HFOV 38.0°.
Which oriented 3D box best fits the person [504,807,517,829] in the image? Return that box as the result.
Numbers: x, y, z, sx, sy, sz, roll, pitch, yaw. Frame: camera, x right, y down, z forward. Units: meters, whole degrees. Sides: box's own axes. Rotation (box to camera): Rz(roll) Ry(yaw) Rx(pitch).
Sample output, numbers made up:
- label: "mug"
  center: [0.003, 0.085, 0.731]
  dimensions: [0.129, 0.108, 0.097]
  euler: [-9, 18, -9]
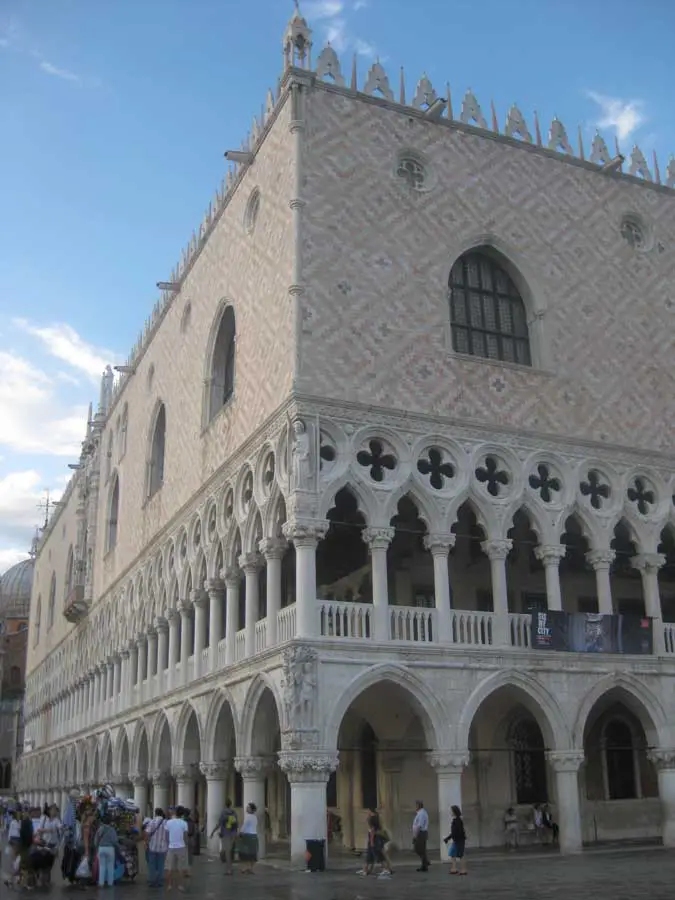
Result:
- label: "person"
  center: [3.906, 8.361, 22.152]
  dimensions: [0.305, 0.638, 0.748]
  euler: [-4, -21, 9]

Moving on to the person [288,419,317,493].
- label: "person"
  center: [-0.629, 0.031, 18.301]
  dimensions: [0.445, 1.492, 0.289]
  euler: [0, -19, -2]

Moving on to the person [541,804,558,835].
- label: "person"
  center: [4.813, 8.369, 22.240]
  dimensions: [0.317, 0.727, 1.160]
  euler: [-5, -21, 12]

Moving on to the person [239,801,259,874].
- label: "person"
  center: [-1.549, 6.653, 16.956]
  dimensions: [0.313, 1.108, 1.128]
  euler: [1, -21, -6]

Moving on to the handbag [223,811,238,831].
- label: "handbag"
  center: [-2.005, 6.825, 18.091]
  dimensions: [0.220, 0.346, 0.464]
  euler: [2, -21, -7]
